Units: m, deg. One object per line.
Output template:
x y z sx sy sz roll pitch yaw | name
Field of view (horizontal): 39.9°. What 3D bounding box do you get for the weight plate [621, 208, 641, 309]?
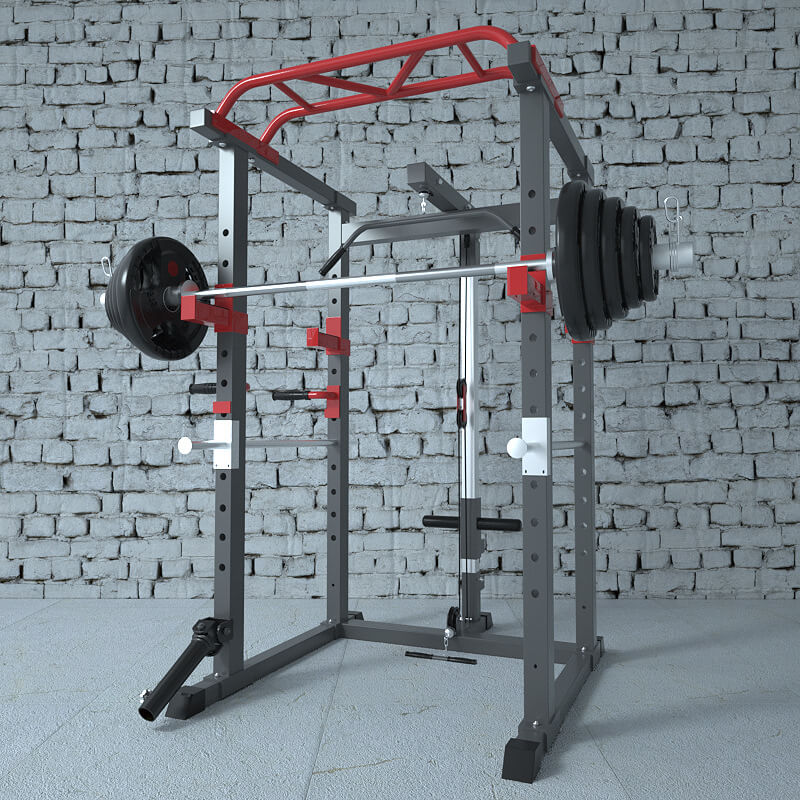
0.534 -0.337 2.569 0.067 0.171 0.196 -4 -5 10 | weight plate
